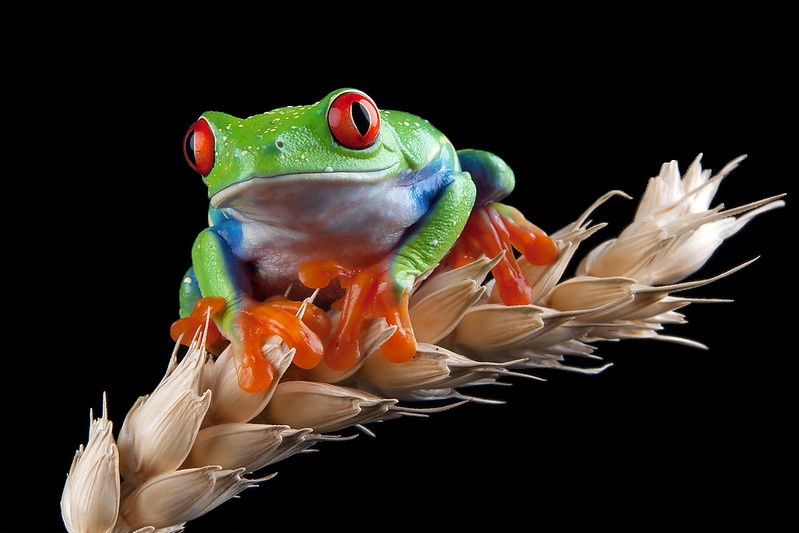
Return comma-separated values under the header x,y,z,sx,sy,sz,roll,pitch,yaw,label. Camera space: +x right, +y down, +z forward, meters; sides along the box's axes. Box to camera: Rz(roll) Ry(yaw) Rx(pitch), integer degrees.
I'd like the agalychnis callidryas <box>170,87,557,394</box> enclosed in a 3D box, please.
x,y,z,sx,sy,sz,roll,pitch,yaw,label
-0.139,-0.166,2.883,1.280,1.046,0.736,-8,24,-13,agalychnis callidryas
